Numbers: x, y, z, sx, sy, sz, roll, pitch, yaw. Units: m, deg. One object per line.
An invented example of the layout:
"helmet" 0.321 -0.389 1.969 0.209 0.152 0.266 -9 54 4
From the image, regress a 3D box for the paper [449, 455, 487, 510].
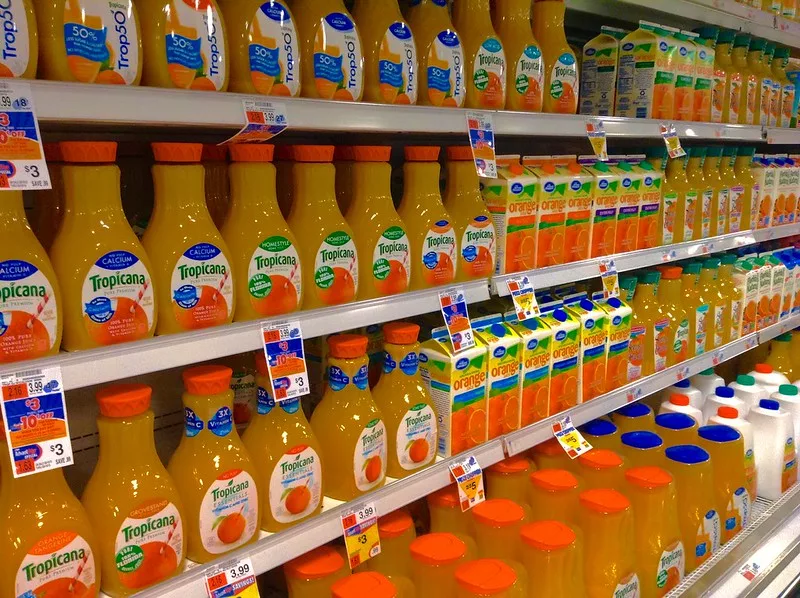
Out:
"paper" 0.198 0.559 1.713 0.109 0.139 0.098 -9 9 -7

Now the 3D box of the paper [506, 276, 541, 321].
"paper" 0.407 0.004 1.856 0.090 0.162 0.170 -7 7 13

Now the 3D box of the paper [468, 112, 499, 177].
"paper" 0.247 -0.440 1.649 0.068 0.178 0.190 -7 7 13

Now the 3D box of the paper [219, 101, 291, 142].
"paper" -0.317 -0.369 1.226 0.093 0.040 0.096 -19 -1 37

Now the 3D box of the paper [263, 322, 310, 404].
"paper" -0.258 0.140 1.295 0.104 0.121 0.028 -14 9 -37

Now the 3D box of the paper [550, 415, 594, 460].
"paper" 0.606 0.493 1.993 0.149 0.190 0.021 -10 -29 -41
